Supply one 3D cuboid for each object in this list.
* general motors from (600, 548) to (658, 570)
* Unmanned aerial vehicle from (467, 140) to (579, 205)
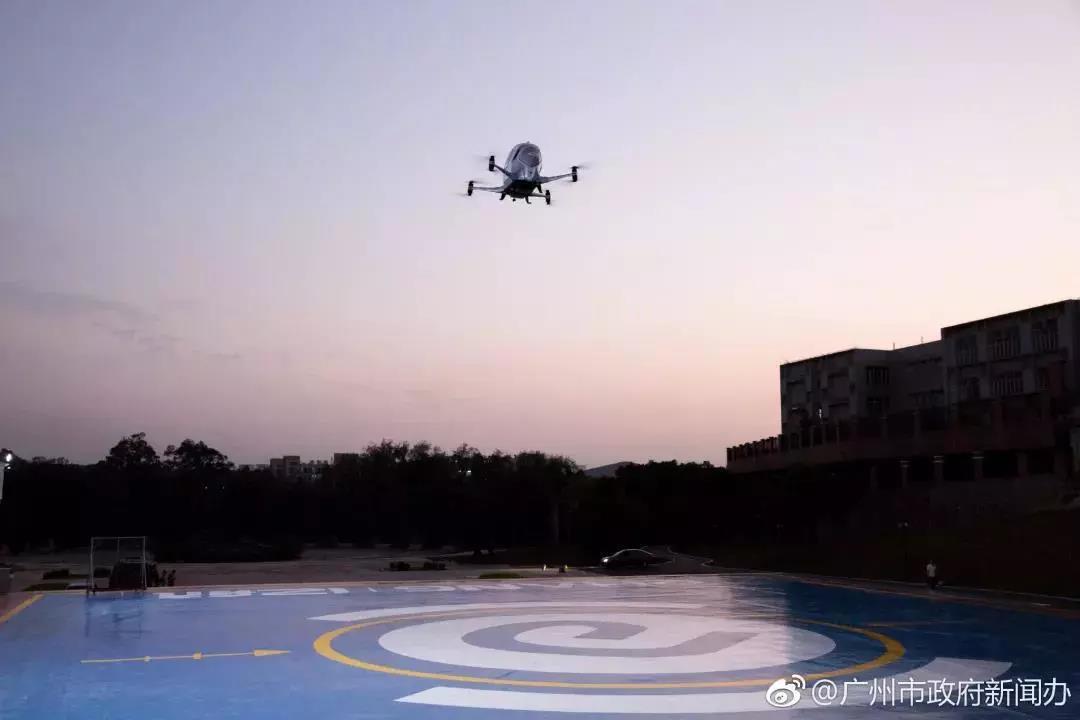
[{"bbox_3d":[7.523,16.690,76.771,4.315,1.351,1.943,4,-10,-10],"label":"general motors"},{"bbox_3d":[-1.174,-11.838,59.200,2.250,3.505,3.498,8,-14,-39],"label":"Unmanned aerial vehicle"}]
